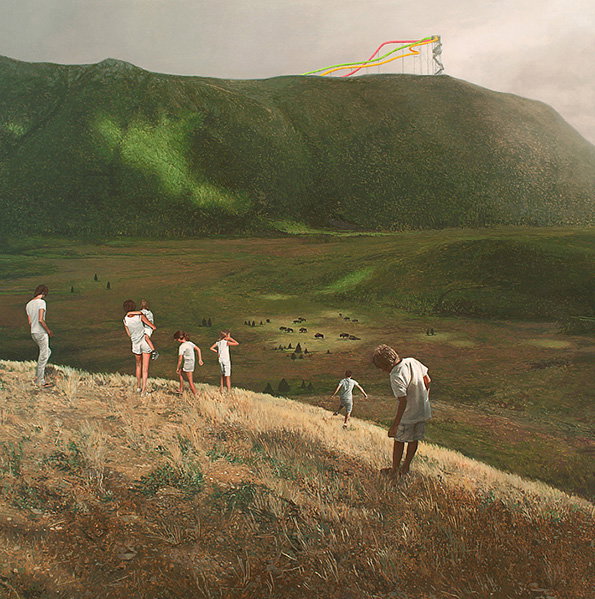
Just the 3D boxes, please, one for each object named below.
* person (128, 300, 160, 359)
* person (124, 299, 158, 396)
[{"bbox_3d":[-2.829,0.524,13.604,0.343,0.913,0.289,-32,7,-24],"label":"person"},{"bbox_3d":[-2.960,0.907,13.830,0.494,1.885,1.469,-2,7,-13],"label":"person"}]
